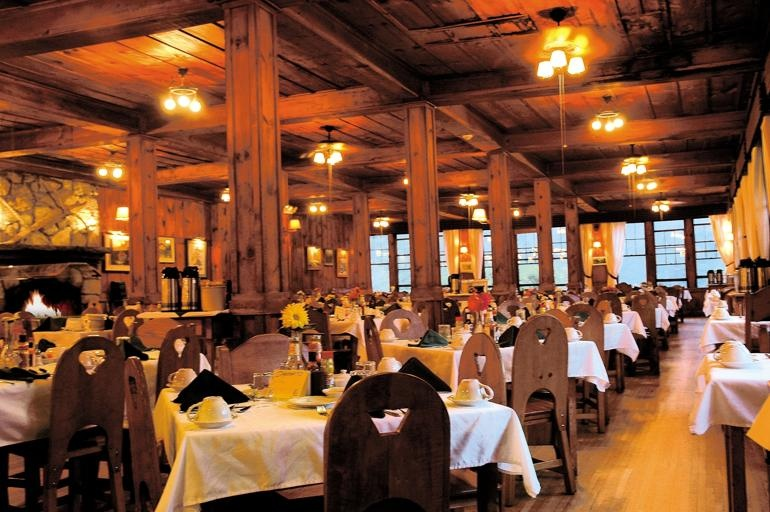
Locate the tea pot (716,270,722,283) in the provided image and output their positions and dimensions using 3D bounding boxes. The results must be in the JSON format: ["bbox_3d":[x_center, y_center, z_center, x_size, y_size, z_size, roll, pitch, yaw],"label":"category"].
[{"bbox_3d":[9.814,0.613,18.857,0.190,0.427,0.612,-5,-5,26],"label":"tea pot"}]

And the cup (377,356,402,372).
[{"bbox_3d":[0.030,0.684,4.106,0.145,0.078,0.099,5,-9,-11],"label":"cup"}]

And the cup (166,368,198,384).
[{"bbox_3d":[-1.359,0.790,4.310,0.161,0.087,0.111,0,-2,6],"label":"cup"}]

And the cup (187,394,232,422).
[{"bbox_3d":[-1.017,0.851,3.638,0.305,0.130,0.171,-6,-6,43],"label":"cup"}]

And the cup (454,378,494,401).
[{"bbox_3d":[0.518,0.793,3.851,0.247,0.119,0.143,2,-5,2],"label":"cup"}]

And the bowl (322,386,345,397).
[{"bbox_3d":[-0.310,0.801,3.822,0.207,0.040,0.192,0,-5,0],"label":"bowl"}]

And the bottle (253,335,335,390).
[{"bbox_3d":[-0.567,0.700,4.206,0.484,0.374,0.432,0,-15,1],"label":"bottle"}]

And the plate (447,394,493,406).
[{"bbox_3d":[0.478,0.845,3.802,0.244,0.049,0.143,-3,-4,11],"label":"plate"}]

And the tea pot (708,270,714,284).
[{"bbox_3d":[9.616,0.614,18.951,0.188,0.433,0.591,-5,-5,25],"label":"tea pot"}]

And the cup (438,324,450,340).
[{"bbox_3d":[0.567,0.742,6.308,0.132,0.118,0.118,0,0,-1],"label":"cup"}]
